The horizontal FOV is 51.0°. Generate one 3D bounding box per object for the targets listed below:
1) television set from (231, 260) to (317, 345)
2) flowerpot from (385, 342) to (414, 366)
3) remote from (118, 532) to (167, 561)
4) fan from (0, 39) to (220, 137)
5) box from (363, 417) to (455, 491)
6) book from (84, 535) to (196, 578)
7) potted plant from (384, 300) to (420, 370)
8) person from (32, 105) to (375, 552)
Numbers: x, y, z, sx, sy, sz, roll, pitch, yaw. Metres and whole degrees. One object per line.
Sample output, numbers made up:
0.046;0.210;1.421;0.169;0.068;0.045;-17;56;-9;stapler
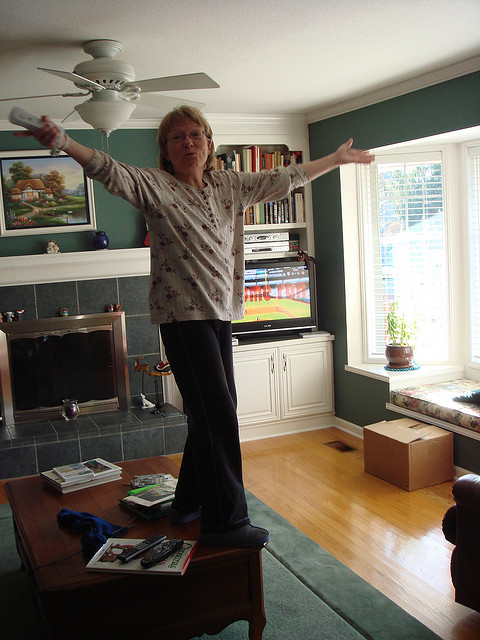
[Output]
0.253;-0.140;3.903;0.779;0.583;0.166;-3;2;-11;television set
1.213;0.258;3.800;0.177;0.131;0.179;0;-6;8;flowerpot
-0.290;0.650;1.451;0.034;0.020;0.108;4;7;36;remote
-0.449;-1.095;2.249;0.617;0.328;0.549;-3;2;-11;fan
1.051;0.818;3.198;0.410;0.285;0.409;-7;10;-31;box
-0.283;0.662;1.426;0.298;0.033;0.184;-2;2;13;book
1.265;0.106;3.921;0.254;0.527;0.307;-2;2;18;potted plant
-0.142;0.025;1.544;0.909;1.341;0.331;-4;2;-30;person
